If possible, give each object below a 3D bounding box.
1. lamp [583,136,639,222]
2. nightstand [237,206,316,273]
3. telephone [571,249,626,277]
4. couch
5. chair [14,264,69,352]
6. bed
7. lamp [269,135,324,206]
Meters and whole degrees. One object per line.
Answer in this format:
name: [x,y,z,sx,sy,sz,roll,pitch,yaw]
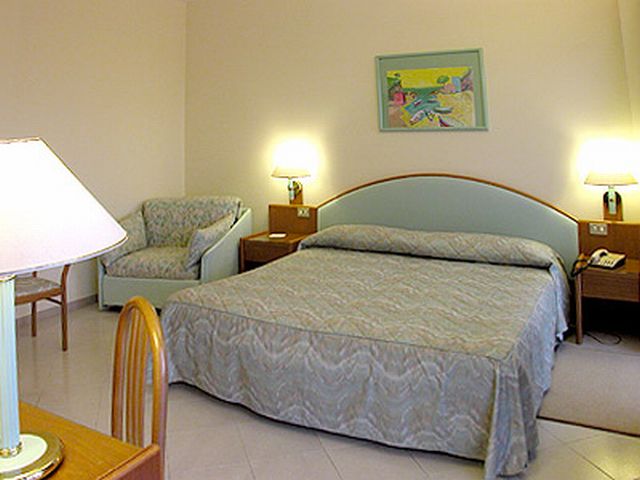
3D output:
lamp: [2.334,-0.490,3.868,0.390,0.655,0.314,2,7,29]
nightstand: [-0.418,0.056,4.944,0.553,0.830,0.645,6,9,27]
telephone: [2.114,0.158,3.671,0.261,0.096,0.270,-3,24,43]
couch: [-1.449,0.132,4.798,1.160,1.025,0.955,3,10,9]
chair: [-2.082,0.425,3.725,0.459,0.726,0.430,1,2,-13]
bed: [0.630,0.465,3.249,2.047,1.160,2.004,6,13,32]
lamp: [-0.310,-0.660,5.131,0.349,0.678,0.456,0,6,-2]
